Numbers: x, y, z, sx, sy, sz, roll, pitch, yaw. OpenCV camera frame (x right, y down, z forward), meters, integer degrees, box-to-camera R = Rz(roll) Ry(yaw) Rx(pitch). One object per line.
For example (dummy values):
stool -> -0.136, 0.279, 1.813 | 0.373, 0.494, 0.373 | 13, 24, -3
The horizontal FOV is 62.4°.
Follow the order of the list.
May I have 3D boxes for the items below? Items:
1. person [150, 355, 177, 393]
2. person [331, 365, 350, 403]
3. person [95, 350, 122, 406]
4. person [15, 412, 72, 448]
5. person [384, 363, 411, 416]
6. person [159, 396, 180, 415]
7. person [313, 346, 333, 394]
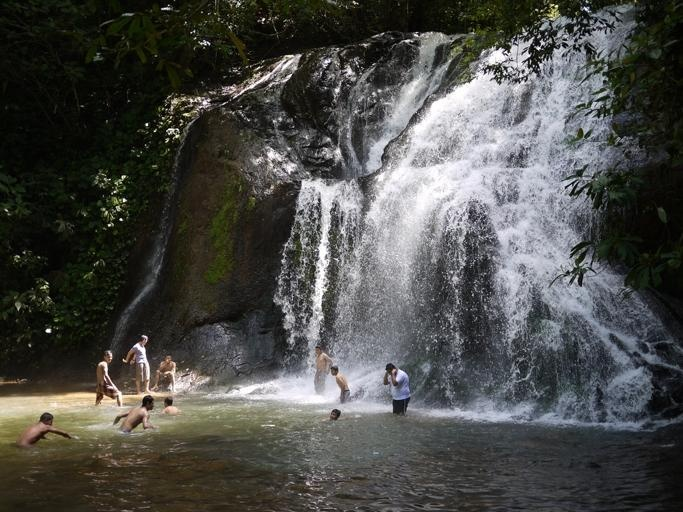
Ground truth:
person -> -4.723, 3.190, 15.268 | 0.501, 0.996, 0.671 | 3, -15, 1
person -> -0.004, 2.986, 13.097 | 0.372, 0.821, 0.601 | -4, -5, 6
person -> -5.274, 2.888, 12.826 | 0.674, 1.387, 0.640 | -1, 2, -6
person -> -4.885, 2.827, 9.212 | 0.730, 0.474, 0.772 | 0, -7, -43
person -> 1.146, 2.736, 11.513 | 0.461, 0.994, 0.383 | -5, -4, 14
person -> -3.506, 3.060, 11.581 | 0.340, 0.377, 0.857 | -3, -6, -18
person -> -0.486, 2.928, 14.628 | 0.471, 1.164, 1.128 | -4, -5, -3
